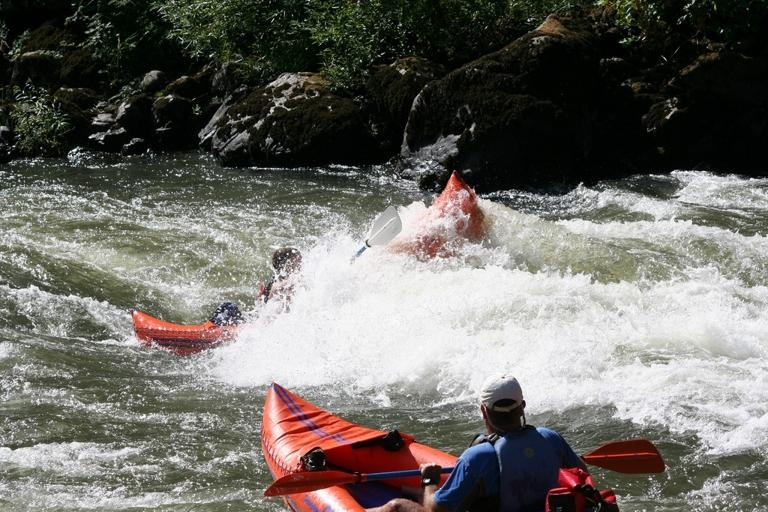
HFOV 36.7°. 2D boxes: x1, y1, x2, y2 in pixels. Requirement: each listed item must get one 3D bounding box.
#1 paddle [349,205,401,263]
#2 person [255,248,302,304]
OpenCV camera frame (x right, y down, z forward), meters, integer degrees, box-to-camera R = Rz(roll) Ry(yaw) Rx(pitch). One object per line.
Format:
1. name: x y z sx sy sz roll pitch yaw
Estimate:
1. paddle: -0.236 -0.269 20.254 0.599 0.337 1.713 -44 7 -37
2. person: -1.713 0.351 19.264 0.562 0.943 0.400 43 11 35
